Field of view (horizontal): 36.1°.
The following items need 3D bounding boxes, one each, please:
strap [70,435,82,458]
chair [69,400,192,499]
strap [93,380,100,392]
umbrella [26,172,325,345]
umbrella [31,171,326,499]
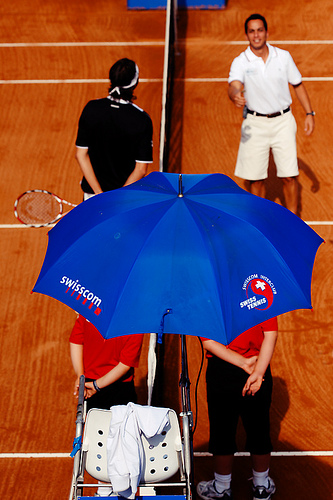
[{"bbox_3d":[-0.403,0.892,2.296,0.022,0.081,0.052,10,1,-13],"label":"strap"},{"bbox_3d":[-0.160,0.846,2.361,0.504,0.454,0.414,-1,7,0],"label":"chair"},{"bbox_3d":[-0.382,0.755,2.822,0.011,0.044,0.045,-32,30,17],"label":"strap"},{"bbox_3d":[0.041,-0.055,2.533,1.145,0.544,1.106,-3,47,-11],"label":"umbrella"},{"bbox_3d":[0.078,0.331,3.265,1.682,1.770,1.744,-1,40,-1],"label":"umbrella"}]
